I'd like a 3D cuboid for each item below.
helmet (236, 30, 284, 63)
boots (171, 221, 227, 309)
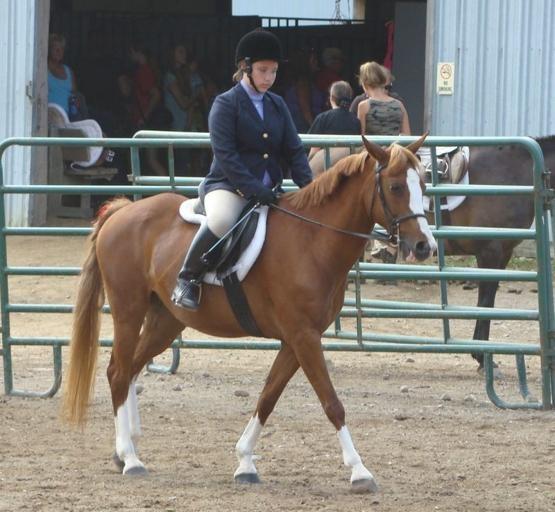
[{"bbox_3d":[-0.146,-1.654,11.227,0.344,0.332,0.370,-2,3,-38],"label":"helmet"},{"bbox_3d":[-0.609,0.095,11.034,0.387,0.630,0.215,-1,13,-5],"label":"boots"}]
